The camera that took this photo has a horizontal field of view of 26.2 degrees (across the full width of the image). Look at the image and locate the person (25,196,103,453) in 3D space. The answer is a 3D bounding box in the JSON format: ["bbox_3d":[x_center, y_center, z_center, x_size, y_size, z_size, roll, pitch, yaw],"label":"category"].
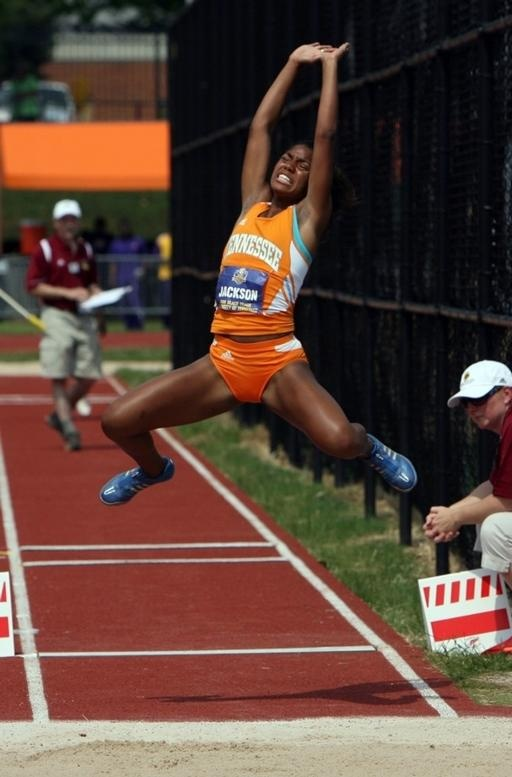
[{"bbox_3d":[-1.723,-0.563,9.909,0.611,2.350,1.241,0,3,-8],"label":"person"}]

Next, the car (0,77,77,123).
[{"bbox_3d":[-6.394,-8.480,32.409,1.920,1.648,3.410,-1,24,-5],"label":"car"}]

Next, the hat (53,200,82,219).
[{"bbox_3d":[-1.665,-1.571,9.679,0.279,0.155,0.418,-2,6,-7],"label":"hat"}]

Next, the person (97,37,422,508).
[{"bbox_3d":[0.011,-0.481,4.281,1.101,1.811,0.636,1,3,21],"label":"person"}]

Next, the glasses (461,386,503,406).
[{"bbox_3d":[0.847,0.033,4.171,0.160,0.083,0.120,2,3,28],"label":"glasses"}]
